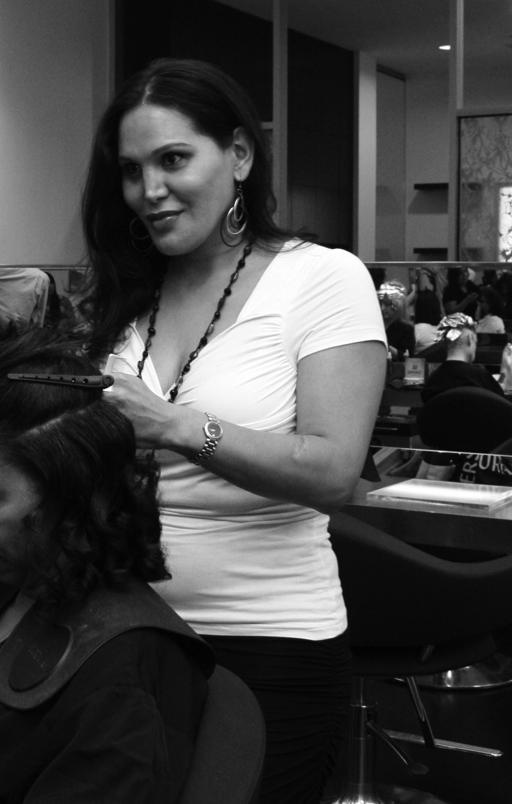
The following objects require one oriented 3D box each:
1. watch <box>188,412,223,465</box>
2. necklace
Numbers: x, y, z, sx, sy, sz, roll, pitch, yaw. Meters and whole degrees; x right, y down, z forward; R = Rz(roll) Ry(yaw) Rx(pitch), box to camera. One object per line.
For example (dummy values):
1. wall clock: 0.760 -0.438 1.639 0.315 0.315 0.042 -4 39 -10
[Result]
1. watch: -0.048 0.041 0.745 0.029 0.054 0.050 22 34 -5
2. necklace: -0.068 -0.078 0.925 0.097 0.358 0.017 0 -24 37
